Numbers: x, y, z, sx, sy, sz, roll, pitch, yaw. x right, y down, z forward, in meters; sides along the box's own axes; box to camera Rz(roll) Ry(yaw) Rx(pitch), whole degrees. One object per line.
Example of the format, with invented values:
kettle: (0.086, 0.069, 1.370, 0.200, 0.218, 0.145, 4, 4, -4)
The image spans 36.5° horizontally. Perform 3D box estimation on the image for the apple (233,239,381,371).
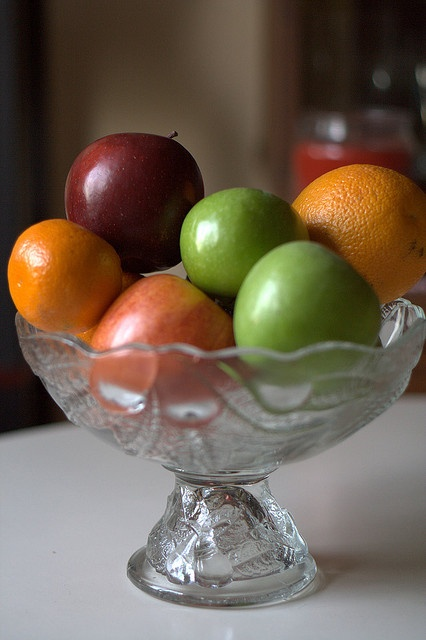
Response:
apple: (0.037, -0.012, 0.323, 0.058, 0.059, 0.057, 2, 9, 17)

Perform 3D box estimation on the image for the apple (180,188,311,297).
apple: (0.014, -0.042, 0.406, 0.079, 0.062, 0.066, -16, 3, 3)

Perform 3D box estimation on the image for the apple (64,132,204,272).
apple: (-0.059, -0.084, 0.467, 0.103, 0.089, 0.097, -2, 3, -17)

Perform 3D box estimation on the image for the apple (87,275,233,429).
apple: (-0.029, 0.008, 0.331, 0.079, 0.046, 0.096, 3, 28, 2)
